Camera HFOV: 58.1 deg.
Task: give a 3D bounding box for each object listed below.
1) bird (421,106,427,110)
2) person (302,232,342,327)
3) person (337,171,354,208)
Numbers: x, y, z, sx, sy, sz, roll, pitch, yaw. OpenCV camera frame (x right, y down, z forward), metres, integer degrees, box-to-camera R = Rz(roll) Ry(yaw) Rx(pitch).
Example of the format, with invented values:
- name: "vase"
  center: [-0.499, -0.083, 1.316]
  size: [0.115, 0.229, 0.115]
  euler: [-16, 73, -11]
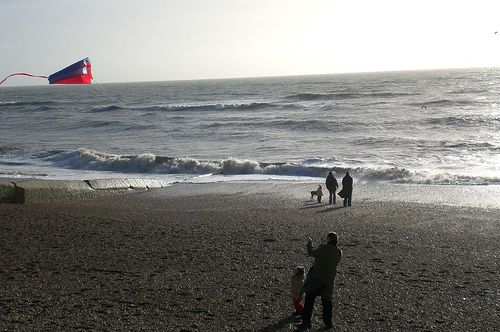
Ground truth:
- name: "bird"
  center: [16.748, -5.617, 43.509]
  size: [0.496, 0.325, 2.313]
  euler: [3, 7, 21]
- name: "person"
  center: [1.256, 2.013, 7.975]
  size: [0.636, 1.634, 0.359]
  euler: [1, 7, 7]
- name: "person"
  center: [3.137, 0.761, 14.849]
  size: [0.429, 1.132, 0.669]
  euler: [2, 7, 11]
